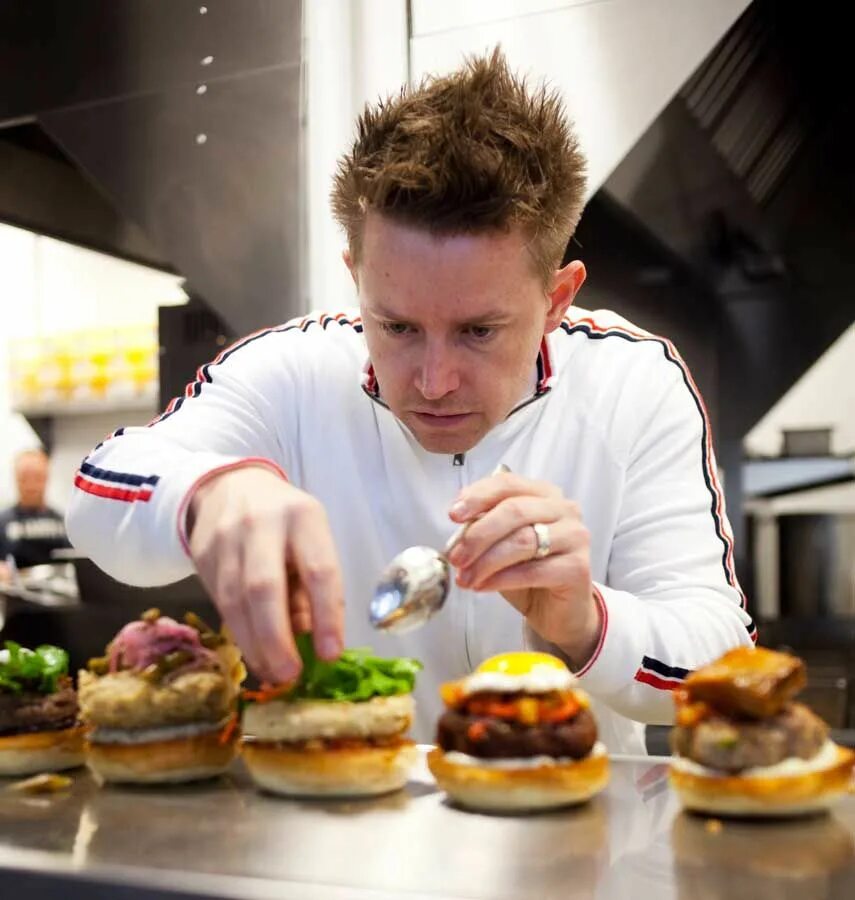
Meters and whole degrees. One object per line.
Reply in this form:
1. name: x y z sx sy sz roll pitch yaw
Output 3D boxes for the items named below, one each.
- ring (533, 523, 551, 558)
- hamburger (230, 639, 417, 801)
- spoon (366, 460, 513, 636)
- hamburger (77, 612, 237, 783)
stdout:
1. ring: 0.180 0.140 1.437 0.043 0.047 0.035 -1 8 -3
2. hamburger: -0.152 0.424 1.388 0.260 0.181 0.253 9 -14 -34
3. spoon: 0.034 0.184 1.708 0.077 0.156 0.555 -45 5 35
4. hamburger: -0.433 0.394 1.498 0.248 0.263 0.240 1 -3 -40
